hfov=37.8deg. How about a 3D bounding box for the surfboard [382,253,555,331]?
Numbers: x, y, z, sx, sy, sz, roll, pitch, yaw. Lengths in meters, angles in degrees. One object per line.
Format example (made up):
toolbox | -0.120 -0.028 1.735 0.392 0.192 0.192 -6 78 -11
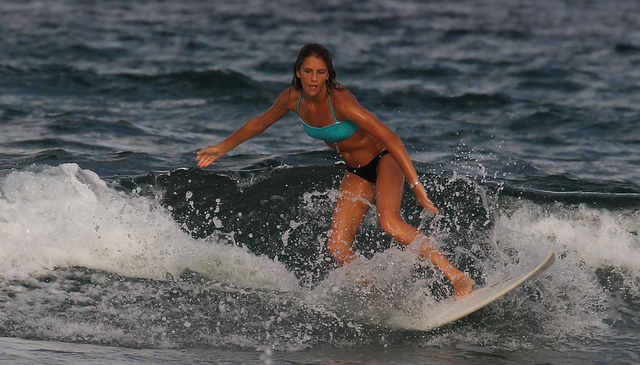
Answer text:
surfboard | 2.769 1.671 17.268 3.726 1.662 1.747 2 0 9

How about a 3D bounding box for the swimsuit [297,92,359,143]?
swimsuit | -0.015 -1.113 16.088 1.102 0.794 0.771 0 8 -4
